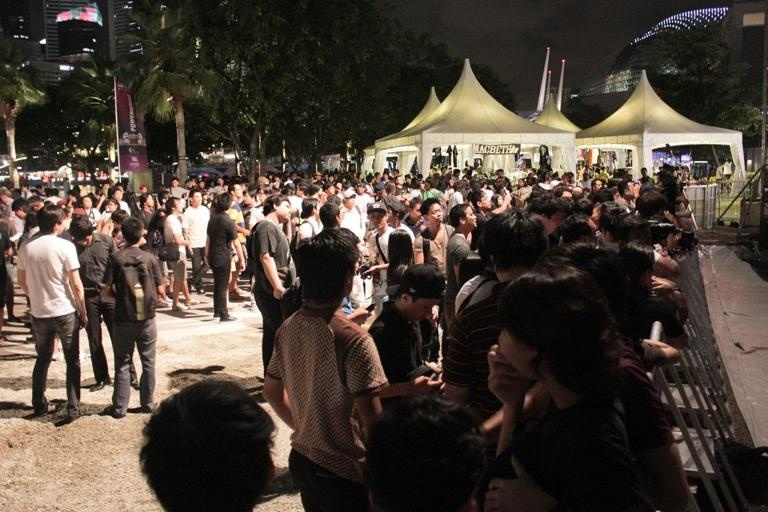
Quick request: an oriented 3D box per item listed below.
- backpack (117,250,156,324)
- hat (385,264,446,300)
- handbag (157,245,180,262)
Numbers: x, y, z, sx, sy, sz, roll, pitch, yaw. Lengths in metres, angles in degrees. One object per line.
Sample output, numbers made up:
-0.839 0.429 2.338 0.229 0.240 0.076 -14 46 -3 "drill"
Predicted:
-2.989 0.396 7.295 0.453 0.811 0.446 0 -9 -38 "backpack"
0.253 0.206 4.705 0.568 0.349 0.434 1 -3 17 "hat"
-4.134 -0.048 11.533 0.464 0.474 0.256 -1 -3 1 "handbag"
